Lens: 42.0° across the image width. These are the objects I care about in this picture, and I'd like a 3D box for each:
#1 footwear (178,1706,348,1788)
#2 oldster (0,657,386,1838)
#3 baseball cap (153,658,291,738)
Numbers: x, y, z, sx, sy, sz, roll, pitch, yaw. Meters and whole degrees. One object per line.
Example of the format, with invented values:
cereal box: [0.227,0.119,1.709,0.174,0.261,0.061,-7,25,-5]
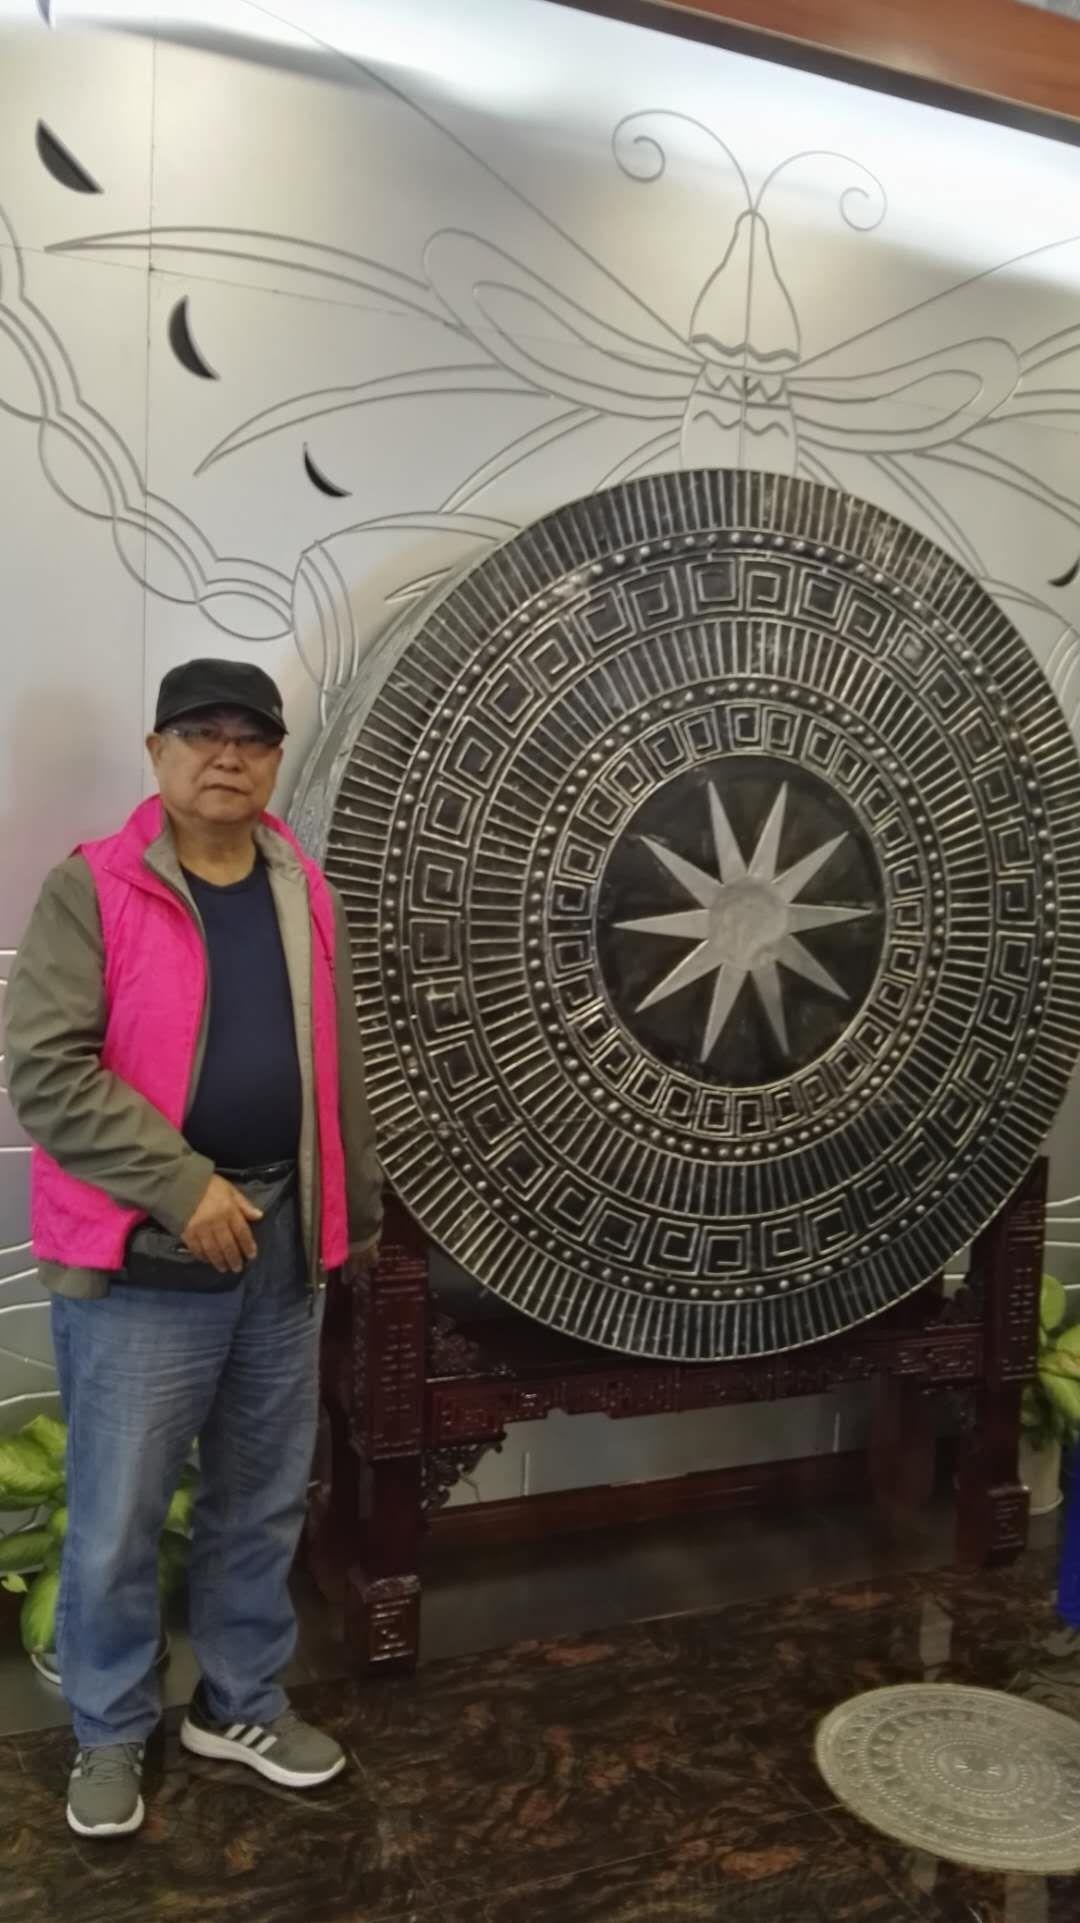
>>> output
footwear: [-0.359,0.999,1.830,0.194,0.081,0.080,4,-12,17]
oldster: [-0.429,0.595,1.768,0.306,0.781,0.227,8,-9,-32]
baseball cap: [-0.369,-0.306,1.623,0.145,0.068,0.091,2,0,-15]
